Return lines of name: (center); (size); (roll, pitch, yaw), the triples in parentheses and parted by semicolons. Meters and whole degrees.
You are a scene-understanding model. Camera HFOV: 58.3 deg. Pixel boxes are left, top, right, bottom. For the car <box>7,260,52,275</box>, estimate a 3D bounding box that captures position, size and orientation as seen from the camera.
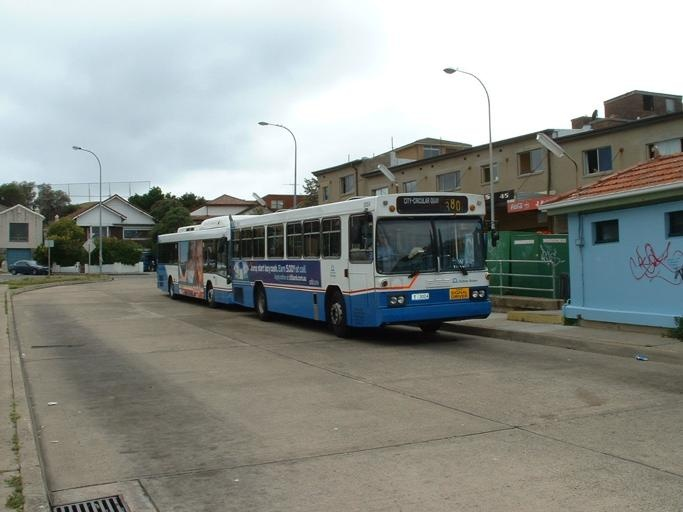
car: (-34.143, 1.297, 67.422); (3.617, 1.221, 1.725); (-1, -2, 16)
